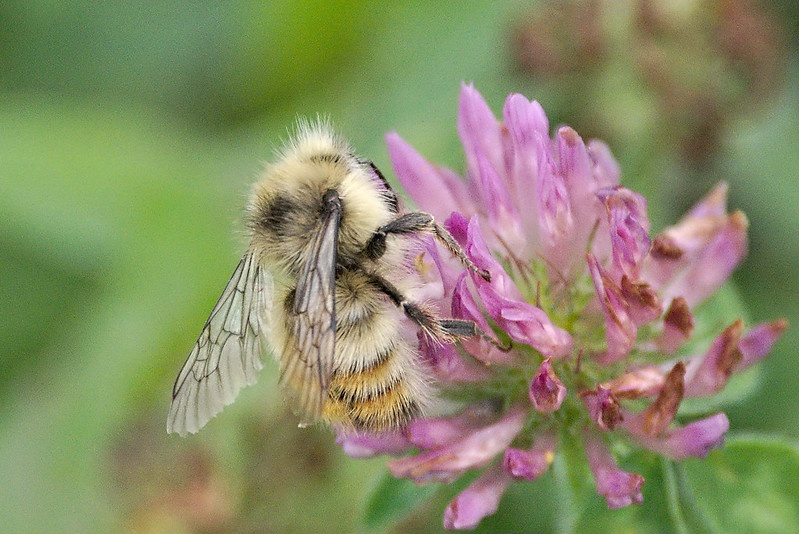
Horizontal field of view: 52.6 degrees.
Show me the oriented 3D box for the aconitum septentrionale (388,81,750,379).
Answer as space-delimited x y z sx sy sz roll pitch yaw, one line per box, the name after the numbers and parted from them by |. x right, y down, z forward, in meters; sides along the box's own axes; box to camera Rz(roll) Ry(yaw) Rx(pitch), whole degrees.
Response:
0.731 -0.090 3.343 0.772 1.703 1.174 0 0 3 | aconitum septentrionale

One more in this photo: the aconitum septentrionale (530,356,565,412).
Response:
0.539 0.443 2.951 0.115 0.203 0.069 12 19 34 | aconitum septentrionale
